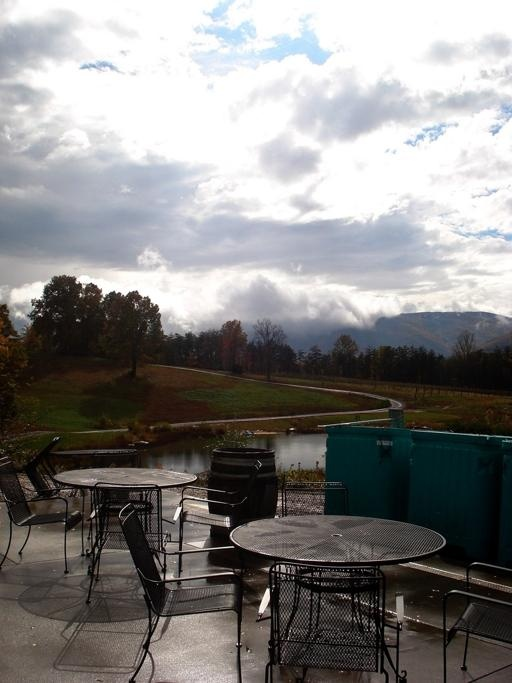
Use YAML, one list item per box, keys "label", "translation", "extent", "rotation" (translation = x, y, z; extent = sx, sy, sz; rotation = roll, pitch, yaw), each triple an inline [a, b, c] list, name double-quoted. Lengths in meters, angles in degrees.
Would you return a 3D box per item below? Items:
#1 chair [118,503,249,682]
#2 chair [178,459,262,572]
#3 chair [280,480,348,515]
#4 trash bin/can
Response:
- label: "chair"
  translation: [-0.469, 1.577, 4.050]
  extent: [0.742, 1.189, 1.530]
  rotation: [0, 1, -1]
- label: "chair"
  translation: [-0.474, 1.929, 6.596]
  extent: [0.821, 1.057, 0.688]
  rotation: [14, -26, -10]
- label: "chair"
  translation: [0.631, 1.686, 6.653]
  extent: [0.836, 0.522, 0.443]
  rotation: [0, -9, 2]
- label: "trash bin/can"
  translation: [0.108, 1.801, 7.491]
  extent: [1.085, 1.117, 1.086]
  rotation: [-4, -23, 22]
